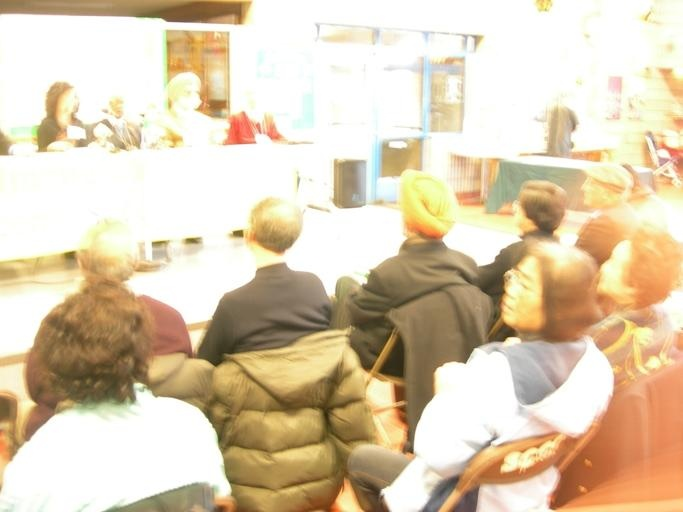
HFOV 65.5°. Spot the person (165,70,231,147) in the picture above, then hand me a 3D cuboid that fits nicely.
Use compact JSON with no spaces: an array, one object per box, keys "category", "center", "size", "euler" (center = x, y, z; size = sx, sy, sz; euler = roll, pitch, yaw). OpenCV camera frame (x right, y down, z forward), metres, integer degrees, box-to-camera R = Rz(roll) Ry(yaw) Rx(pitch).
[{"category":"person","center":[-1.813,-1.856,6.655],"size":[0.524,0.829,1.094],"euler":[-9,18,20]}]

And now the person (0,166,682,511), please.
[{"category":"person","center":[-0.182,0.289,2.408],"size":[1.280,0.459,1.946],"euler":[4,11,29]}]

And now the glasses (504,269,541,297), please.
[{"category":"glasses","center":[0.545,0.081,1.576],"size":[0.053,0.039,0.072],"euler":[0,6,-14]}]

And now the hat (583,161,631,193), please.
[{"category":"hat","center":[1.619,-0.494,3.238],"size":[0.176,0.102,0.214],"euler":[14,12,-29]}]
